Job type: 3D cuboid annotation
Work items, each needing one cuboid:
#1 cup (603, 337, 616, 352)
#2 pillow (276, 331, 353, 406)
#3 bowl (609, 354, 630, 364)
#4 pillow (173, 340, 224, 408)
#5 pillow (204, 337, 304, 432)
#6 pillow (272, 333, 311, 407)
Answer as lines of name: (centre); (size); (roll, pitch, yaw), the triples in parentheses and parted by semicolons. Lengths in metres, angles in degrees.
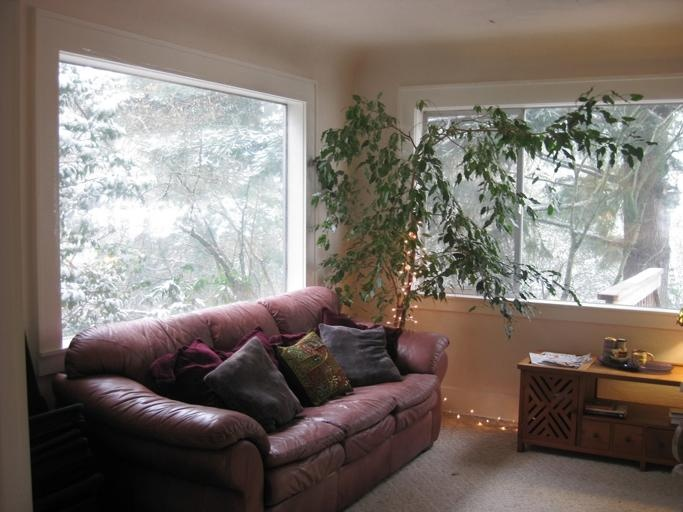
cup: (1.829, 0.603, 3.433); (0.060, 0.084, 0.090); (2, 4, 8)
pillow: (-0.153, 0.684, 2.930); (0.107, 0.366, 0.361); (-29, 1, 25)
bowl: (1.872, 0.685, 3.383); (0.070, 0.050, 0.072); (0, -4, 0)
pillow: (-0.743, 0.578, 2.553); (0.243, 0.094, 0.254); (25, 27, -19)
pillow: (-0.450, 0.688, 2.546); (0.119, 0.400, 0.397); (-36, -4, 32)
pillow: (-0.251, 0.663, 2.946); (0.094, 0.331, 0.326); (-19, 2, -2)
